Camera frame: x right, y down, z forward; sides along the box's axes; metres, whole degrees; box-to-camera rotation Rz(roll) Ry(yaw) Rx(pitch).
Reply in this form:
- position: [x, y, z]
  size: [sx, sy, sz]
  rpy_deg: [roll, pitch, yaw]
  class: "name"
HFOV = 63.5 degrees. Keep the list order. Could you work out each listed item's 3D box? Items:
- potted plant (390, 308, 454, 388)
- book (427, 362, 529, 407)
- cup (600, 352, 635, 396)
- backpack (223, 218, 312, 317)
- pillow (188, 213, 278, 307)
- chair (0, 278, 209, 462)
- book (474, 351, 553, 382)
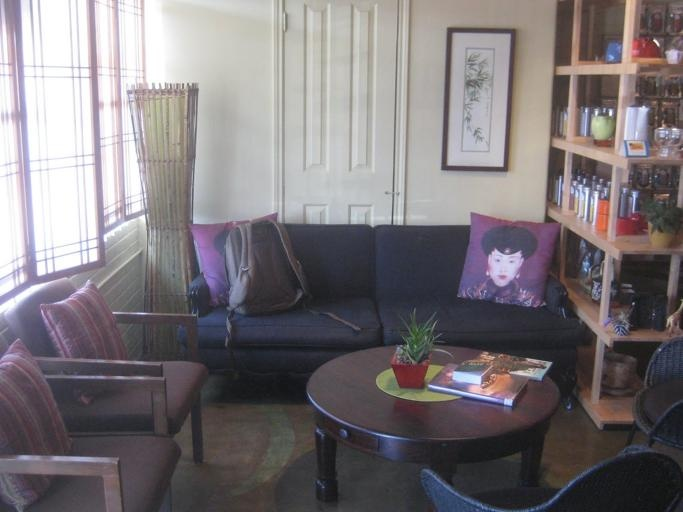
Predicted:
- position: [0.430, 0.447, 2.718]
  size: [0.266, 0.449, 0.373]
  rpy_deg: [1, 5, 7]
  class: "potted plant"
- position: [0.630, 0.605, 2.514]
  size: [0.256, 0.029, 0.218]
  rpy_deg: [5, 12, 25]
  class: "book"
- position: [1.696, 0.728, 3.510]
  size: [0.224, 0.263, 0.236]
  rpy_deg: [1, 6, 0]
  class: "cup"
- position: [-0.514, 0.099, 3.692]
  size: [0.550, 0.616, 0.346]
  rpy_deg: [-1, -16, -40]
  class: "backpack"
- position: [-0.729, 0.052, 3.703]
  size: [0.538, 0.591, 0.197]
  rpy_deg: [-8, -6, -9]
  class: "pillow"
- position: [-0.994, 0.492, 2.757]
  size: [0.811, 1.023, 0.749]
  rpy_deg: [0, 8, 1]
  class: "chair"
- position: [0.843, 0.558, 2.782]
  size: [0.213, 0.028, 0.237]
  rpy_deg: [4, 8, 22]
  class: "book"
